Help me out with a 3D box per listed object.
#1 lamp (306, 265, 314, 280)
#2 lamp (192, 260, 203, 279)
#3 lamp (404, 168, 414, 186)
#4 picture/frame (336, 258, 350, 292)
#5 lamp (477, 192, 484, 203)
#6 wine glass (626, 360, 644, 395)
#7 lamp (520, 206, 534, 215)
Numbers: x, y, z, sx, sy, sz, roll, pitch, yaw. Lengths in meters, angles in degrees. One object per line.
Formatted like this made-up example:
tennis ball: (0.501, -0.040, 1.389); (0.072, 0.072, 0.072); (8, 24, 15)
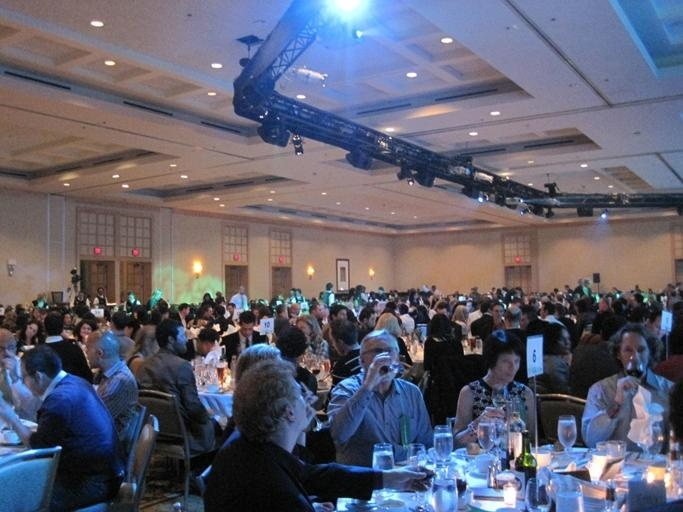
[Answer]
lamp: (-1.301, 0.647, 22.781); (0.442, 0.687, 0.423); (4, -4, -26)
lamp: (-4.879, 0.434, 18.412); (0.097, 0.609, 0.441); (-1, -3, 33)
lamp: (1.244, -1.466, 10.146); (0.093, 0.277, 0.194); (-8, -8, 16)
picture/frame: (0.014, 0.840, 24.273); (0.126, 1.801, 1.290); (-7, -11, 36)
lamp: (3.096, -1.317, 12.090); (0.140, 0.245, 0.133); (9, -15, -27)
wine glass: (1.945, 0.808, 3.613); (0.135, 0.189, 0.110); (-8, 12, 10)
lamp: (5.641, -1.391, 16.437); (0.458, 0.245, 0.657); (-1, 5, 11)
